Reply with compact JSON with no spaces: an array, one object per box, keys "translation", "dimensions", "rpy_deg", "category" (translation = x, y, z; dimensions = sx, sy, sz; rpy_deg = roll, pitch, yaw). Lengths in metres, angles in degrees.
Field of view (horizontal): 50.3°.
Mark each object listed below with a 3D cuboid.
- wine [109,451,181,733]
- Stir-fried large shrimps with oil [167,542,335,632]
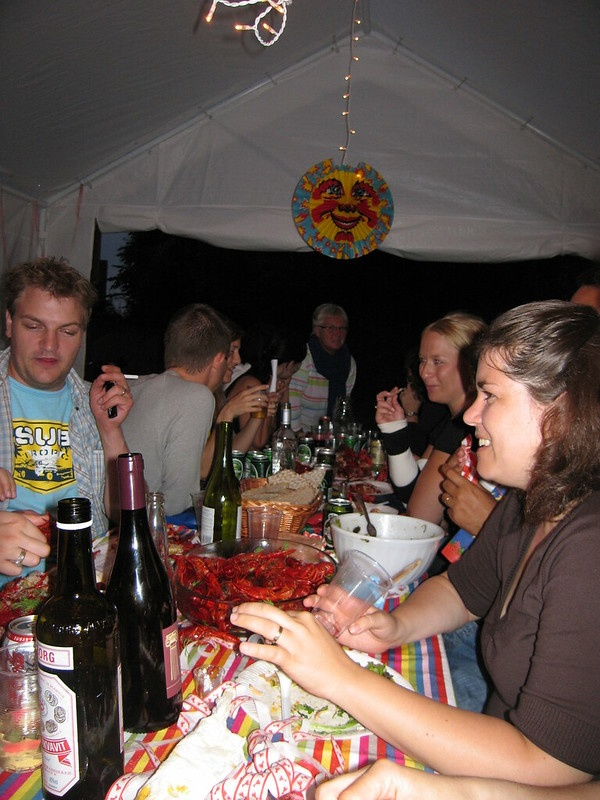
[{"translation":[-0.250,0.307,1.064],"dimensions":[0.159,0.421,0.142],"rpy_deg":[1,2,-10],"category":"wine"},{"translation":[-0.101,0.376,1.462],"dimensions":[0.371,0.129,0.336],"rpy_deg":[-2,3,-32],"category":"Stir-fried large shrimps with oil"}]
